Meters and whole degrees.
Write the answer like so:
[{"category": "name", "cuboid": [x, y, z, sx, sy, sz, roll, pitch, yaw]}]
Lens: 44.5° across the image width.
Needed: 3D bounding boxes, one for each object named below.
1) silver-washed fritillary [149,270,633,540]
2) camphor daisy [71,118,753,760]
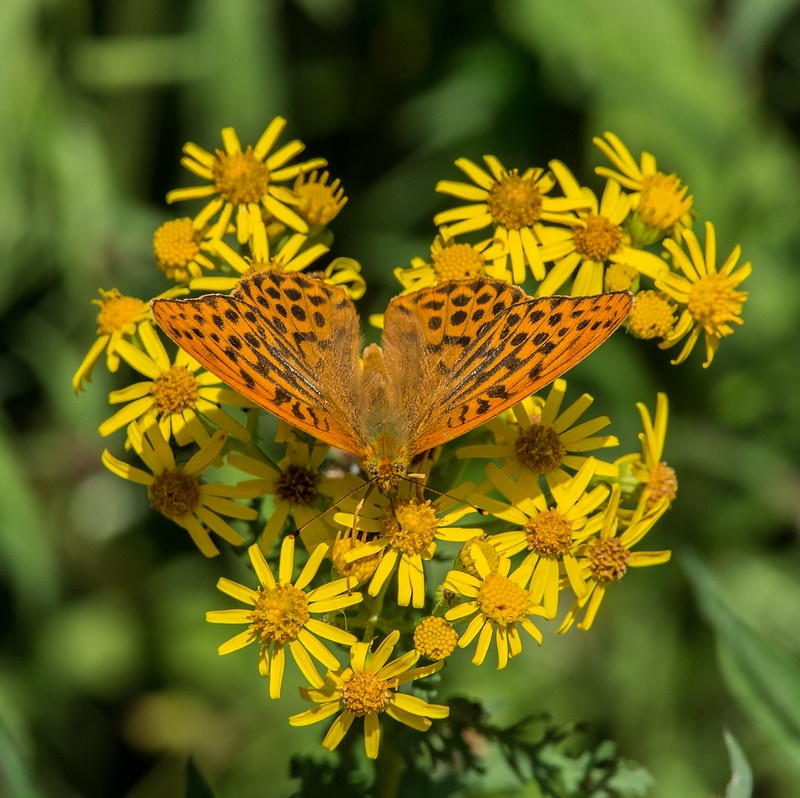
[{"category": "silver-washed fritillary", "cuboid": [-0.034, -0.021, 3.700, 1.799, 0.805, 0.491, 2, 2, 4]}, {"category": "camphor daisy", "cuboid": [-0.168, 0.136, 4.153, 2.341, 2.498, 1.429, -10, 29, -18]}]
